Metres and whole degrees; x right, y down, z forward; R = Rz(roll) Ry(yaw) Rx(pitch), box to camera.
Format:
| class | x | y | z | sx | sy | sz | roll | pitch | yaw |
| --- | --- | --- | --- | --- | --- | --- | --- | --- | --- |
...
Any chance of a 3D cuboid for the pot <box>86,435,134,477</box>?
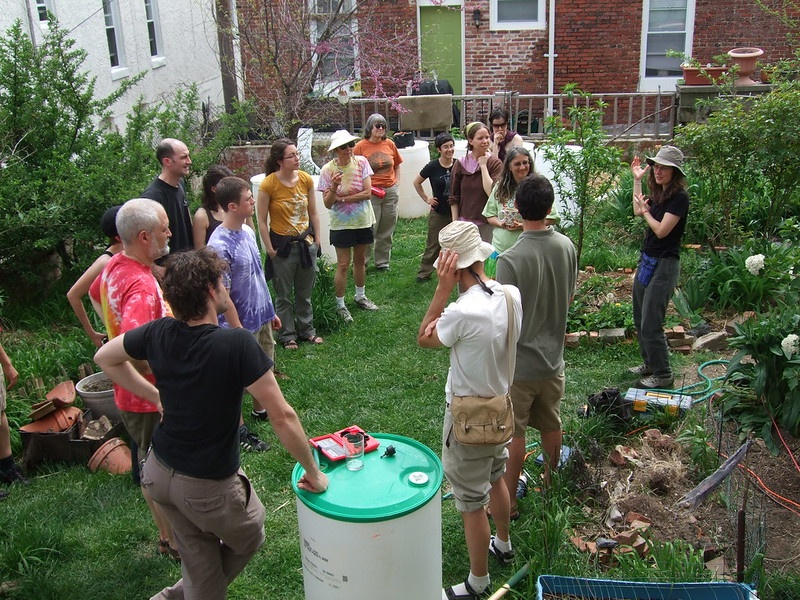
| class | x | y | z | sx | sy | sz | roll | pitch | yaw |
| --- | --- | --- | --- | --- | --- | --- | --- | --- | --- |
| pot | -2.411 | 1.310 | 5.617 | 0.248 | 0.298 | 0.296 | 22 | 22 | 17 |

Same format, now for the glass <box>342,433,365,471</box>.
| class | x | y | z | sx | sy | sz | roll | pitch | yaw |
| --- | --- | --- | --- | --- | --- | --- | --- | --- | --- |
| glass | -0.273 | 0.931 | 4.166 | 0.146 | 0.247 | 0.162 | -1 | 19 | 0 |

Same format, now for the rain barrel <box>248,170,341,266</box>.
| class | x | y | z | sx | sy | sz | roll | pitch | yaw |
| --- | --- | --- | --- | --- | --- | --- | --- | --- | --- |
| rain barrel | -1.497 | -1.013 | 9.046 | 1.223 | 1.457 | 1.277 | -1 | 16 | -4 |

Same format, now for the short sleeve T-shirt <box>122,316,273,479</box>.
| class | x | y | z | sx | sy | sz | roll | pitch | yaw |
| --- | --- | --- | --- | --- | --- | --- | --- | --- | --- |
| short sleeve T-shirt | -1.243 | 0.586 | 3.978 | 0.949 | 0.955 | 0.509 | 14 | 19 | 14 |

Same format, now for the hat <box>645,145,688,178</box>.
| class | x | y | z | sx | sy | sz | roll | pitch | yaw |
| --- | --- | --- | --- | --- | --- | --- | --- | --- | --- |
| hat | 2.424 | -1.258 | 6.081 | 0.279 | 0.276 | 0.333 | 2 | 9 | 19 |

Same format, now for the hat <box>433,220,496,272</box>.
| class | x | y | z | sx | sy | sz | roll | pitch | yaw |
| --- | --- | --- | --- | --- | --- | --- | --- | --- | --- |
| hat | 0.407 | -0.312 | 4.113 | 0.299 | 0.190 | 0.310 | -14 | 41 | 23 |

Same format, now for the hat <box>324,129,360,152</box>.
| class | x | y | z | sx | sy | sz | roll | pitch | yaw |
| --- | --- | --- | --- | --- | --- | --- | --- | --- | --- |
| hat | -0.677 | -1.851 | 7.838 | 0.286 | 0.254 | 0.483 | -2 | 9 | -5 |

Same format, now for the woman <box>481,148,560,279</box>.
| class | x | y | z | sx | sy | sz | roll | pitch | yaw |
| --- | --- | --- | --- | --- | --- | --- | --- | --- | --- |
| woman | 1.169 | -0.624 | 6.610 | 0.745 | 1.725 | 0.581 | 4 | 20 | 17 |

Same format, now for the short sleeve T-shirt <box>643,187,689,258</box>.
| class | x | y | z | sx | sy | sz | roll | pitch | yaw |
| --- | --- | --- | --- | --- | --- | --- | --- | --- | --- |
| short sleeve T-shirt | 2.447 | -0.699 | 6.167 | 0.404 | 0.621 | 0.329 | 5 | 11 | 36 |

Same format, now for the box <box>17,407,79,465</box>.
| class | x | y | z | sx | sy | sz | roll | pitch | yaw |
| --- | --- | --- | --- | --- | --- | --- | --- | --- | --- |
| box | -2.968 | 1.151 | 5.746 | 0.352 | 0.195 | 0.477 | 6 | 20 | 24 |

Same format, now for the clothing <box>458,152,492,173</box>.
| class | x | y | z | sx | sy | sz | roll | pitch | yaw |
| --- | --- | --- | --- | --- | --- | --- | --- | --- | --- |
| clothing | 0.834 | -1.577 | 7.576 | 0.223 | 0.152 | 0.283 | 1 | -5 | -3 |

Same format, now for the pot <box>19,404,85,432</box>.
| class | x | y | z | sx | sy | sz | roll | pitch | yaw |
| --- | --- | --- | --- | --- | --- | --- | --- | --- | --- |
| pot | -3.000 | 0.971 | 5.744 | 0.219 | 0.115 | 0.357 | 24 | 36 | 37 |

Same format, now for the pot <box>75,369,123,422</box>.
| class | x | y | z | sx | sy | sz | roll | pitch | yaw |
| --- | --- | --- | --- | --- | --- | --- | --- | --- | --- |
| pot | -2.744 | 0.866 | 6.141 | 0.449 | 0.390 | 0.491 | 0 | 15 | 0 |

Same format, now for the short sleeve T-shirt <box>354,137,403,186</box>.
| class | x | y | z | sx | sy | sz | roll | pitch | yaw |
| --- | --- | --- | --- | --- | --- | --- | --- | --- | --- |
| short sleeve T-shirt | -0.300 | -1.784 | 8.704 | 0.735 | 0.740 | 0.426 | -14 | 23 | -28 |

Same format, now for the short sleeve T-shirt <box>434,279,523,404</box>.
| class | x | y | z | sx | sy | sz | roll | pitch | yaw |
| --- | --- | --- | --- | --- | --- | --- | --- | --- | --- |
| short sleeve T-shirt | 0.510 | 0.240 | 4.122 | 0.582 | 0.751 | 0.373 | -13 | 27 | -23 |
